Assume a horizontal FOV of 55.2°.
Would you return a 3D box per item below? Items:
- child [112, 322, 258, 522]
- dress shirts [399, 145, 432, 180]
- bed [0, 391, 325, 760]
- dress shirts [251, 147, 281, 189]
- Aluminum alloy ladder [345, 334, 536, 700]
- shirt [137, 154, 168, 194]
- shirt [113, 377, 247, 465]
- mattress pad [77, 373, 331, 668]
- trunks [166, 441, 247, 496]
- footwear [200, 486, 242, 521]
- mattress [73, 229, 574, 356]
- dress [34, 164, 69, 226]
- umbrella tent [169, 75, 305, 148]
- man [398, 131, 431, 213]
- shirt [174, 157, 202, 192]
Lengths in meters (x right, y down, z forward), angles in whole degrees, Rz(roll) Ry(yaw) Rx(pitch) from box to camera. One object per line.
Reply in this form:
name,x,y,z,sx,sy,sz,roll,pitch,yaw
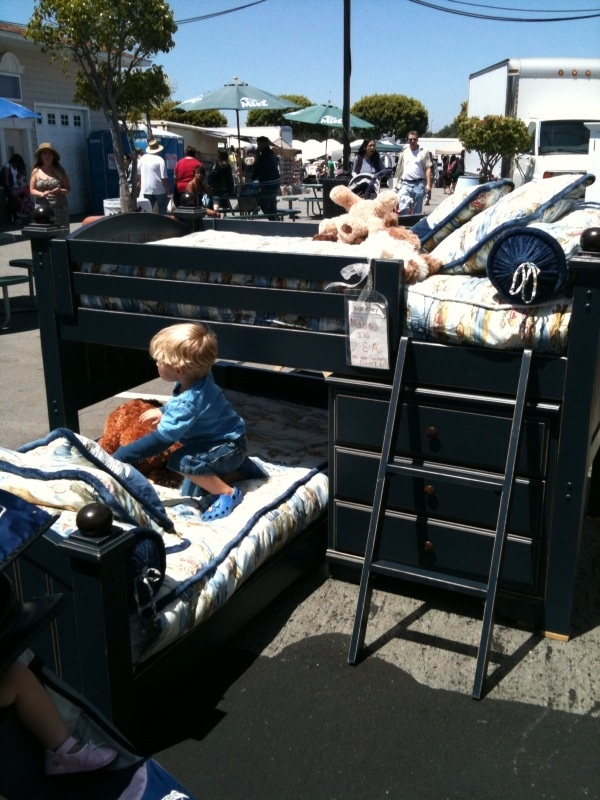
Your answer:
child,-0.512,-0.065,2.749,0.672,1.059,0.746,6,21,9
dress shirts,2.151,-4.485,10.828,0.561,0.678,0.448,2,9,13
bed,-0.360,0.458,1.940,0.619,0.472,1.082,18,32,19
dress shirts,-0.760,-4.962,12.229,0.559,0.800,0.587,1,9,10
Aluminum alloy ladder,0.486,0.371,2.024,0.561,1.151,0.409,4,9,24
shirt,-2.937,-4.474,11.333,0.516,0.824,0.378,-1,8,-3
shirt,-0.466,0.070,2.420,0.376,0.310,0.458,12,21,16
mattress pad,-0.206,0.390,2.427,0.630,0.313,1.133,-4,24,20
trunks,-0.392,0.281,2.473,0.245,0.111,0.189,-13,4,-37
footwear,-0.314,0.428,2.323,0.163,0.062,0.083,-35,18,-37
mattress,0.203,-0.414,2.355,1.491,0.319,0.822,10,21,24
dress,-3.614,-2.910,8.297,0.369,0.859,0.282,-15,41,-27
umbrella tent,-1.544,-7.024,13.654,2.626,1.046,1.267,8,12,39
man,2.147,-4.132,10.900,0.546,1.741,0.455,-4,34,2
shirt,-2.072,-4.190,10.615,0.384,0.726,0.860,-4,10,-23
